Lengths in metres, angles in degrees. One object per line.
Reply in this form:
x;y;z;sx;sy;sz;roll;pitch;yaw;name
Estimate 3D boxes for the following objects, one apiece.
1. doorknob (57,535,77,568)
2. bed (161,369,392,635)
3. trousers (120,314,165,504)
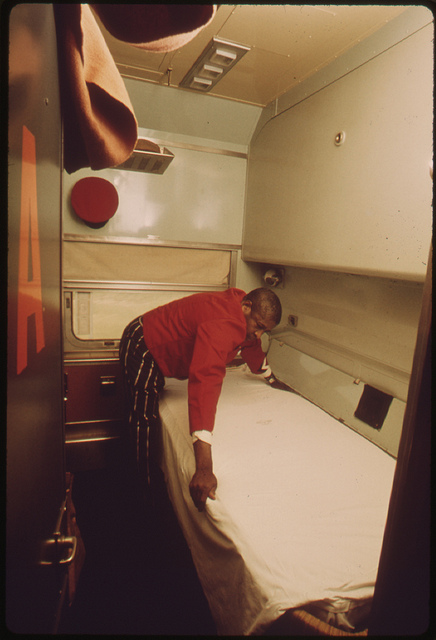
-0.288;0.433;0.881;0.044;0.076;0.023;3;1;-6;doorknob
0.148;0.504;1.536;0.513;0.249;0.953;-2;16;-17;bed
-0.387;0.489;2.310;0.314;0.868;0.334;-1;11;-21;trousers
